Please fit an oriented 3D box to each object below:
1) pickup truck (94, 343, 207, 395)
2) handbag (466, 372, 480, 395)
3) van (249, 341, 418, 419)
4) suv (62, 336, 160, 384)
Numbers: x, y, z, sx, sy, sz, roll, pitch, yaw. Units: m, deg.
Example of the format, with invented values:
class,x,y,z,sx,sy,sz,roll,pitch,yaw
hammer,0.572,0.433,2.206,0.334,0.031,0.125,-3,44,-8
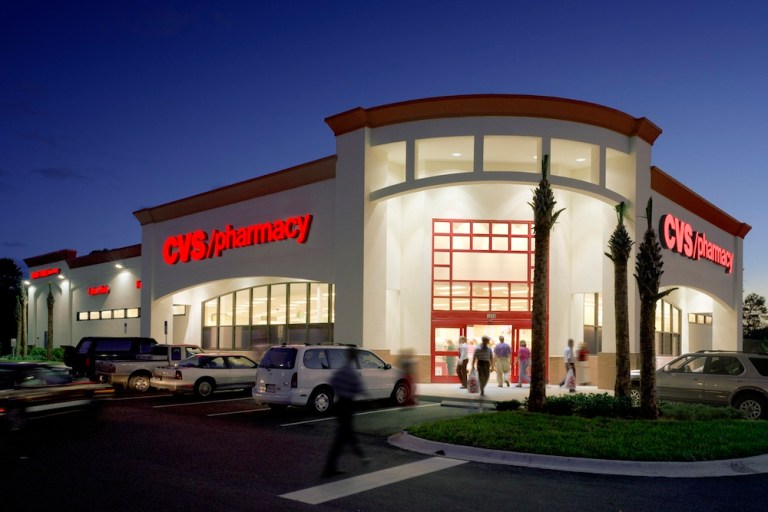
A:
class,x,y,z,sx,sy,sz,roll,pitch,yaw
pickup truck,-10.209,4.896,25.662,3.663,1.426,1.793,-1,-1,-35
handbag,3.797,5.343,25.048,0.421,0.865,1.054,0,-1,8
van,-1.737,3.944,20.283,4.689,1.906,2.464,1,-4,-40
suv,-12.253,4.477,26.667,3.268,1.606,1.919,-2,0,-33
